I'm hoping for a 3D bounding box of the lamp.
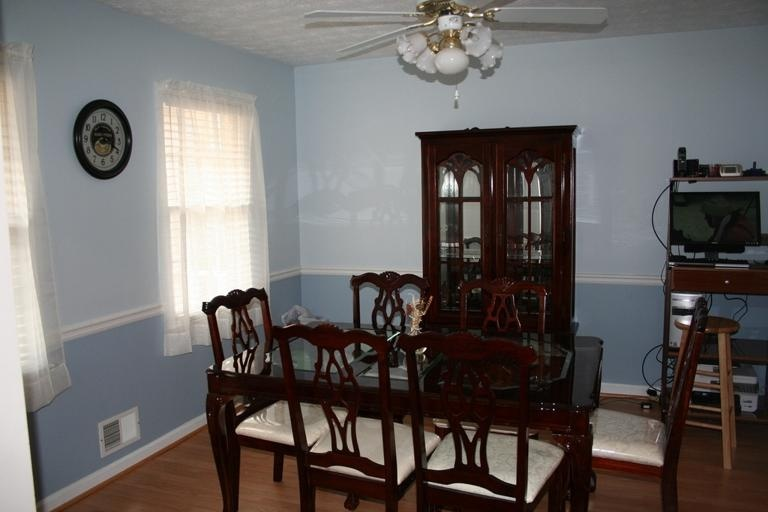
[{"bbox_3d":[0.434,-1.340,3.603,0.551,0.403,0.510,5,8,37],"label":"lamp"}]

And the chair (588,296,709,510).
[{"bbox_3d":[1.585,0.888,3.421,0.575,1.238,0.499,3,8,28],"label":"chair"}]

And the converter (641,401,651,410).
[{"bbox_3d":[2.265,1.291,4.882,0.089,0.064,0.051,-2,-3,14],"label":"converter"}]

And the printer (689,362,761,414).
[{"bbox_3d":[2.823,1.076,4.633,0.515,0.342,0.560,0,4,28],"label":"printer"}]

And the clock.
[{"bbox_3d":[-2.025,-0.832,4.038,0.054,0.518,0.505,-1,17,19],"label":"clock"}]
